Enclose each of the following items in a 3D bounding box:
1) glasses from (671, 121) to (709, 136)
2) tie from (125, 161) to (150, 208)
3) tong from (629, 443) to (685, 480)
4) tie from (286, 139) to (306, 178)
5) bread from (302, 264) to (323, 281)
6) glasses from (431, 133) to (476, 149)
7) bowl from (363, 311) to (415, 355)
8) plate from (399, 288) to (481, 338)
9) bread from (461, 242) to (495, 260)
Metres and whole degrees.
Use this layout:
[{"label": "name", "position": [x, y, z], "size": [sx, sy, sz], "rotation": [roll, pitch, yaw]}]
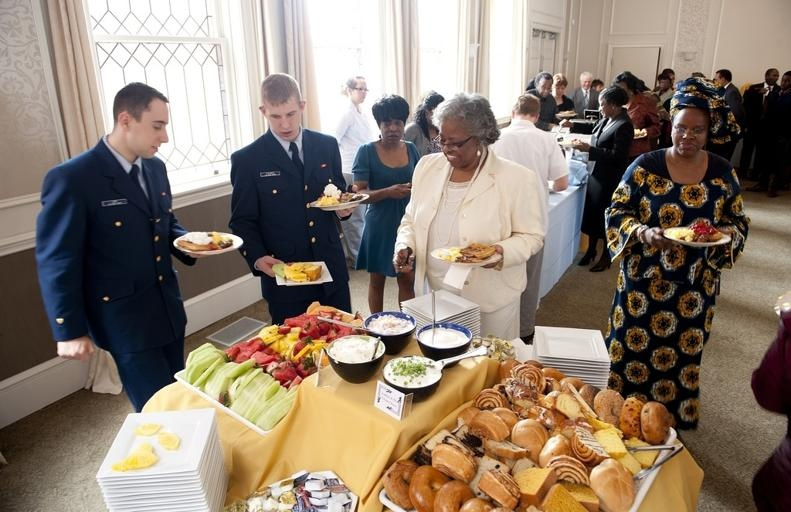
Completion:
[{"label": "glasses", "position": [1.755, -0.748, 2.970], "size": [0.128, 0.098, 0.122], "rotation": [-4, 19, -27]}, {"label": "tie", "position": [-1.504, -0.431, 2.947], "size": [0.056, 0.227, 0.133], "rotation": [-9, 14, 20]}, {"label": "tong", "position": [1.131, 0.876, 2.150], "size": [0.203, 0.033, 0.109], "rotation": [-20, 44, 0]}, {"label": "tie", "position": [-0.653, -0.645, 3.341], "size": [0.063, 0.292, 0.076], "rotation": [-14, 1, -6]}, {"label": "bread", "position": [-0.495, 0.099, 3.013], "size": [0.080, 0.090, 0.135], "rotation": [2, 16, 11]}, {"label": "glasses", "position": [0.349, -0.660, 2.900], "size": [0.200, 0.081, 0.057], "rotation": [4, 22, 14]}, {"label": "bowl", "position": [-0.023, 0.343, 2.425], "size": [0.215, 0.120, 0.211], "rotation": [0, 11, 0]}, {"label": "plate", "position": [0.241, 0.256, 2.673], "size": [0.305, 0.132, 0.304], "rotation": [15, 28, 37]}, {"label": "bread", "position": [0.485, -0.025, 2.881], "size": [0.120, 0.042, 0.115], "rotation": [-1, 18, 5]}]
